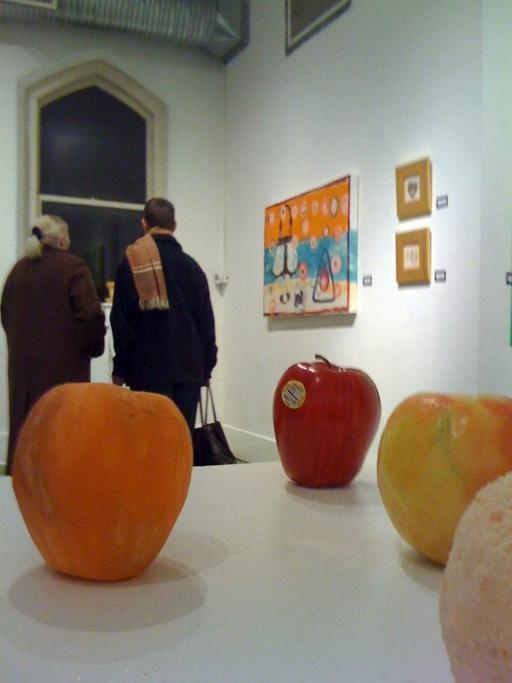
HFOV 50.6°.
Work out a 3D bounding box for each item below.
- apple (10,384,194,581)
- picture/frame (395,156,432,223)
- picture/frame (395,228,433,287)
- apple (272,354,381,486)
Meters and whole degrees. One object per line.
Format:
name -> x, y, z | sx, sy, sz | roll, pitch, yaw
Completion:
apple -> -0.131, 0.087, 0.461 | 0.111, 0.192, 0.140 | 6, -7, -19
picture/frame -> 0.643, -0.611, 2.212 | 0.136, 0.252, 0.025 | -10, -29, 34
picture/frame -> 0.637, -0.348, 2.206 | 0.135, 0.213, 0.018 | 2, 24, 26
apple -> 0.095, 0.134, 0.846 | 0.114, 0.212, 0.145 | 10, -11, 0
